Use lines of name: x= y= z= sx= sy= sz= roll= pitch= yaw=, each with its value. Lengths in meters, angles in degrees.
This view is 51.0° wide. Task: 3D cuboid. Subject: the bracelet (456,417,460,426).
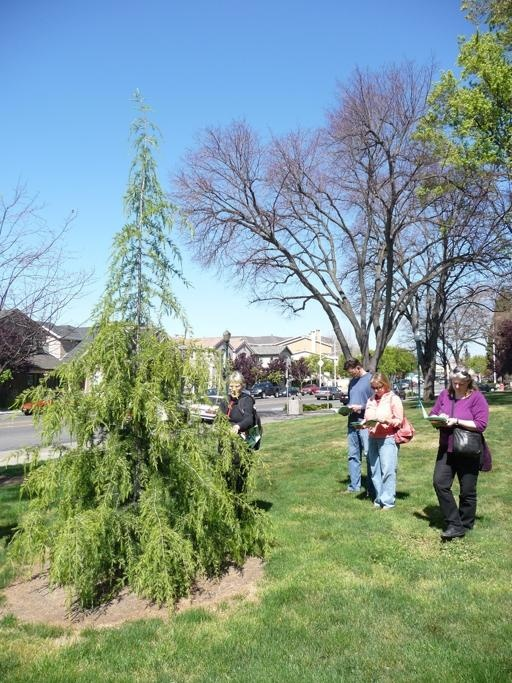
bracelet: x=2.040 y=0.811 z=5.419 sx=0.041 sy=0.060 sz=0.064 roll=-8 pitch=-29 yaw=27

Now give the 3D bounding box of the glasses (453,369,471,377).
glasses: x=2.064 y=0.310 z=5.387 sx=0.118 sy=0.037 sz=0.104 roll=-7 pitch=7 yaw=-44

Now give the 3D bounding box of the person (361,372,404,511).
person: x=1.529 y=1.169 z=6.304 sx=0.446 sy=1.589 sz=0.796 roll=-4 pitch=-5 yaw=10

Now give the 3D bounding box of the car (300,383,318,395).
car: x=6.744 y=5.766 z=65.767 sx=1.312 sy=1.027 sz=2.916 roll=-4 pitch=-10 yaw=23

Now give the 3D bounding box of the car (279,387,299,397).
car: x=3.934 y=5.916 z=61.877 sx=1.722 sy=1.250 sz=3.751 roll=-5 pitch=-11 yaw=20

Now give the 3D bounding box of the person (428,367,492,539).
person: x=2.067 y=1.104 z=5.427 sx=0.570 sy=1.671 sz=0.589 roll=-5 pitch=-6 yaw=17

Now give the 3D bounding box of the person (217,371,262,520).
person: x=-0.152 y=1.038 z=5.769 sx=0.410 sy=1.467 sz=0.893 roll=-3 pitch=-5 yaw=-1

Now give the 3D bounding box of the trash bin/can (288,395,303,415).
trash bin/can: x=2.234 y=3.641 z=30.369 sx=0.874 sy=1.245 sz=0.868 roll=-1 pitch=-2 yaw=5

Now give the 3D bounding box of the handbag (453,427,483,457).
handbag: x=2.104 y=0.993 z=5.323 sx=0.295 sy=0.280 sz=0.120 roll=3 pitch=3 yaw=10
